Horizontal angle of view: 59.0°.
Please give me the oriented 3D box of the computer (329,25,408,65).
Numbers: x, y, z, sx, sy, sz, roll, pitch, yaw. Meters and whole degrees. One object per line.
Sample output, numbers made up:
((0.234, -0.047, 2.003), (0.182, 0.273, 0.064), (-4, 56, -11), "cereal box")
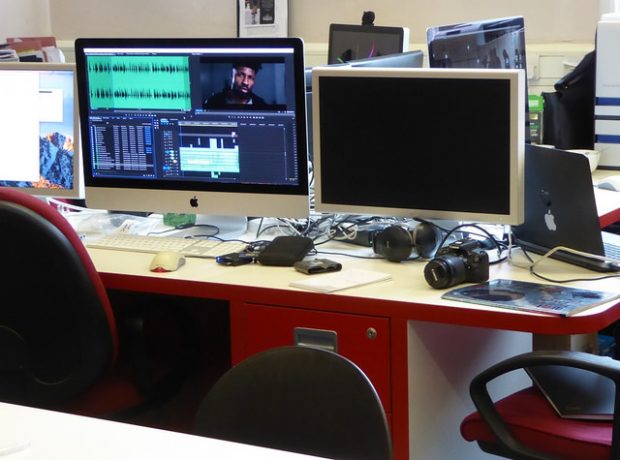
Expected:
((0.274, -0.918, 2.658), (0.390, 0.179, 0.098), (5, 18, 22), "computer")

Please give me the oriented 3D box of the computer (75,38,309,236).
((-0.374, -0.331, 1.807), (0.817, 0.570, 0.200), (4, 13, 16), "computer")

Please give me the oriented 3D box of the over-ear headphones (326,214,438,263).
((0.230, 0.012, 1.628), (0.212, 0.065, 0.130), (8, 16, 39), "over-ear headphones")

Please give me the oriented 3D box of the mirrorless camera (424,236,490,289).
((0.380, 0.087, 1.430), (0.141, 0.106, 0.186), (4, 13, 36), "mirrorless camera")
